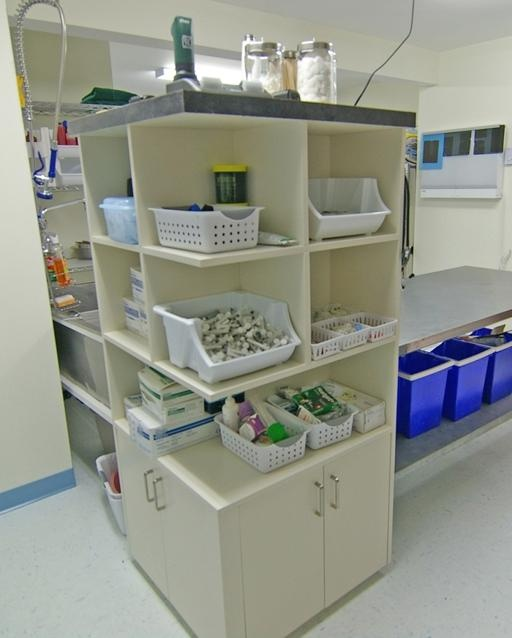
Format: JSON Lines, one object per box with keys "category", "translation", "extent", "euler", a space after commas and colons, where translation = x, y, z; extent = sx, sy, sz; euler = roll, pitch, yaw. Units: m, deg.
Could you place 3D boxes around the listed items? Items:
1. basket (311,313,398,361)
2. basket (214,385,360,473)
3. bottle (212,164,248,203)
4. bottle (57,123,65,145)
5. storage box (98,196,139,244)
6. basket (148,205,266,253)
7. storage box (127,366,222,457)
{"category": "basket", "translation": [0.287, 0.043, 1.556], "extent": [0.272, 0.057, 0.136], "euler": [-13, 19, -39]}
{"category": "basket", "translation": [0.108, 0.333, 1.557], "extent": [0.312, 0.095, 0.226], "euler": [-12, 20, -35]}
{"category": "bottle", "translation": [-0.084, -0.407, 1.506], "extent": [0.116, 0.118, 0.118], "euler": [3, 18, 9]}
{"category": "bottle", "translation": [-1.124, -1.054, 2.861], "extent": [0.042, 0.113, 0.117], "euler": [-7, 13, -21]}
{"category": "storage box", "translation": [-0.396, -0.285, 1.438], "extent": [0.105, 0.126, 0.165], "euler": [-12, 15, -27]}
{"category": "basket", "translation": [-0.140, -0.249, 1.216], "extent": [0.147, 0.077, 0.207], "euler": [-12, 19, -37]}
{"category": "storage box", "translation": [-0.273, 0.303, 1.643], "extent": [0.257, 0.199, 0.257], "euler": [-12, 20, -38]}
